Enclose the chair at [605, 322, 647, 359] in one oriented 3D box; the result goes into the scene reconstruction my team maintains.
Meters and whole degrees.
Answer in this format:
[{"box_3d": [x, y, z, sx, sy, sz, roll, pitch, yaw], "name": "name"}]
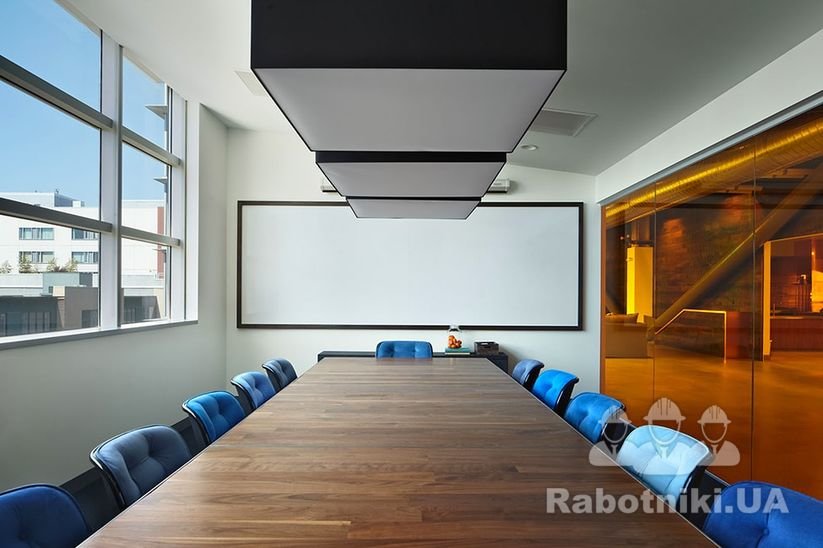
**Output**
[{"box_3d": [2.703, 0.841, 6.694, 0.358, 0.425, 0.670, 0, -1, 12], "name": "chair"}]
